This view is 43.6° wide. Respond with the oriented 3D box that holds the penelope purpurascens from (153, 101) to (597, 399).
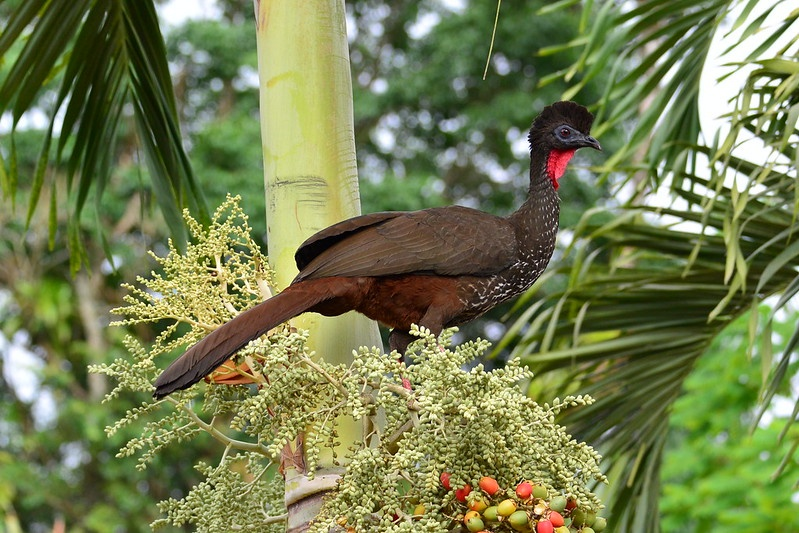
[{"bbox_3d":[-0.005,0.024,5.069,2.317,1.693,0.688,-4,-14,-7],"label":"penelope purpurascens"}]
